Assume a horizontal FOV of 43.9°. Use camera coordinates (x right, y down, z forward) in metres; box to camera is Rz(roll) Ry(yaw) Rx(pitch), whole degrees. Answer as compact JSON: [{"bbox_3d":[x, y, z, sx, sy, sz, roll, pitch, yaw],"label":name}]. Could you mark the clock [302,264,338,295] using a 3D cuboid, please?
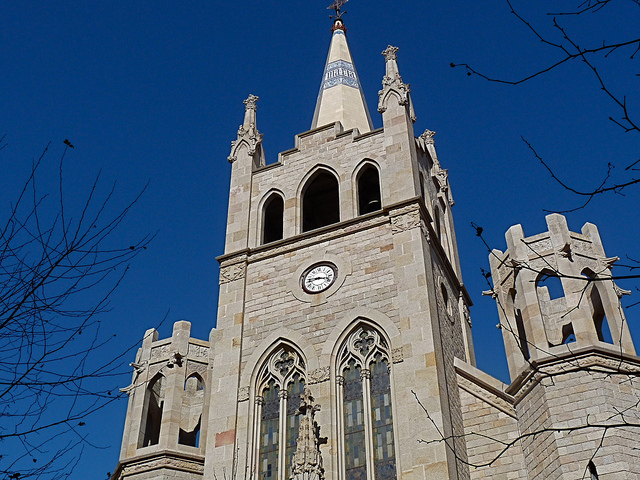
[{"bbox_3d":[0.028,1.412,29.141,1.094,1.133,1.131,-23,-32,17],"label":"clock"}]
